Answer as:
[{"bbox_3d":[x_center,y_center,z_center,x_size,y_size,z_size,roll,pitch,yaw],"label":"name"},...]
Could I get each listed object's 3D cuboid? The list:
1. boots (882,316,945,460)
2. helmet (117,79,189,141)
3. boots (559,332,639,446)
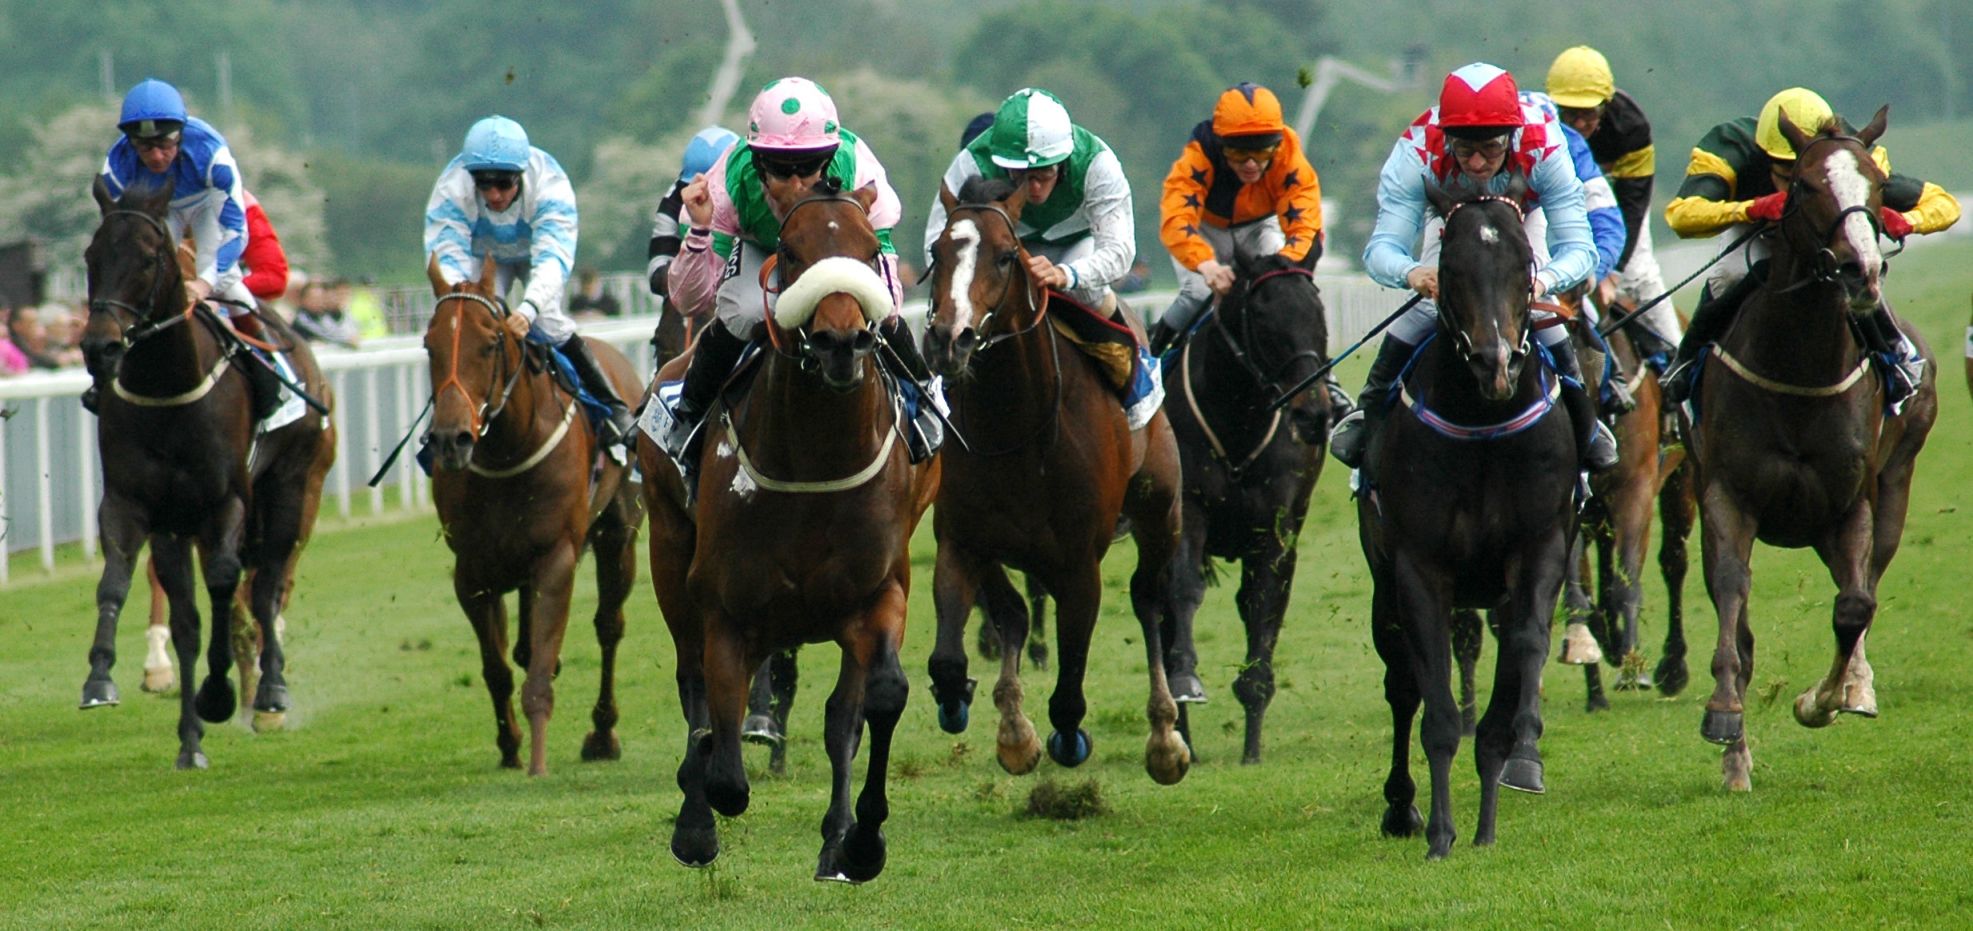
[{"bbox_3d":[-0.797,-0.613,20.566,0.454,1.104,0.755,-10,-4,16],"label":"boots"},{"bbox_3d":[-7.258,-3.180,22.900,0.529,0.327,0.621,0,10,-1],"label":"helmet"},{"bbox_3d":[-3.446,-0.673,23.062,0.303,0.993,0.616,-28,-15,9],"label":"boots"}]
